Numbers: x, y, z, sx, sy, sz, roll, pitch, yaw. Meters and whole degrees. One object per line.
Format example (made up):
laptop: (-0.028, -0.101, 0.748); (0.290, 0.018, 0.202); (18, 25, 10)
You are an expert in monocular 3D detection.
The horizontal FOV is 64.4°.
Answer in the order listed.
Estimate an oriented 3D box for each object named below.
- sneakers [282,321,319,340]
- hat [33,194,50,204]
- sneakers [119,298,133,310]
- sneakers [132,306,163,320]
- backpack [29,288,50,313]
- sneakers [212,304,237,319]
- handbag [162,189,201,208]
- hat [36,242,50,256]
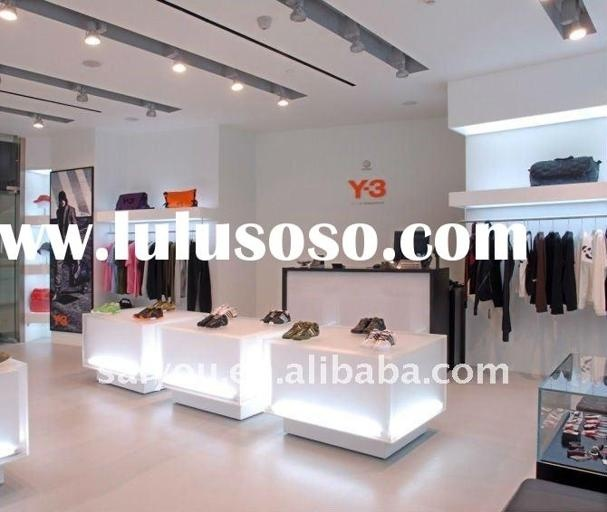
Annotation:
sneakers: (-0.021, 0.584, 3.788); (0.210, 0.104, 0.295); (1, 3, 30)
hat: (-4.181, -0.920, 7.673); (0.204, 0.171, 0.380); (-2, 3, -36)
sneakers: (-2.561, 0.686, 6.923); (0.185, 0.191, 0.076); (-2, -10, 10)
sneakers: (-1.515, 0.562, 4.726); (0.135, 0.070, 0.193); (-4, -3, 44)
backpack: (-4.207, 0.716, 7.700); (0.326, 0.404, 0.329); (2, -3, -6)
sneakers: (-0.731, 0.521, 4.532); (0.125, 0.070, 0.186); (3, -8, 23)
handbag: (-1.780, -0.843, 7.029); (0.633, 0.331, 0.546); (0, 3, 13)
hat: (-4.126, -0.128, 7.681); (0.218, 0.197, 0.105); (0, 2, 18)
